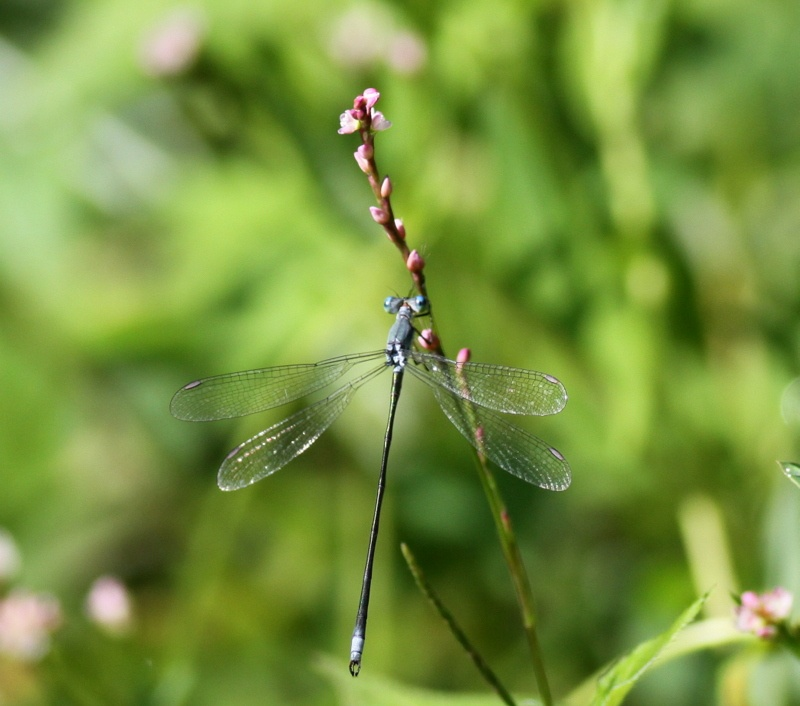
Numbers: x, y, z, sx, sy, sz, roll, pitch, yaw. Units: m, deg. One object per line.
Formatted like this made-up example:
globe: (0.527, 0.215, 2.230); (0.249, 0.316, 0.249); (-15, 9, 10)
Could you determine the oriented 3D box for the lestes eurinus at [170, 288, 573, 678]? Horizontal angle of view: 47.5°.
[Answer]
lestes eurinus: (-0.040, 0.231, 1.663); (0.707, 0.719, 0.359); (0, -20, 13)
